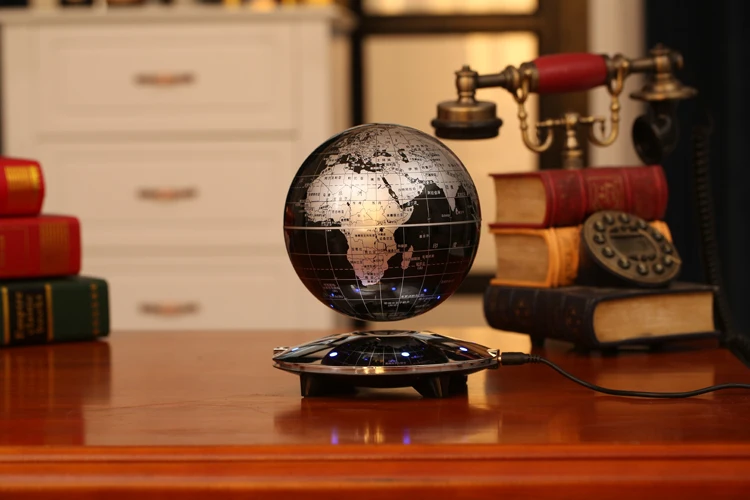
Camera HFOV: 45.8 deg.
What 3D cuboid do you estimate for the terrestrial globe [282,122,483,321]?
[{"bbox_3d":[0.006,-0.034,1.404,0.303,0.296,0.284,4,8,41],"label":"terrestrial globe"}]
